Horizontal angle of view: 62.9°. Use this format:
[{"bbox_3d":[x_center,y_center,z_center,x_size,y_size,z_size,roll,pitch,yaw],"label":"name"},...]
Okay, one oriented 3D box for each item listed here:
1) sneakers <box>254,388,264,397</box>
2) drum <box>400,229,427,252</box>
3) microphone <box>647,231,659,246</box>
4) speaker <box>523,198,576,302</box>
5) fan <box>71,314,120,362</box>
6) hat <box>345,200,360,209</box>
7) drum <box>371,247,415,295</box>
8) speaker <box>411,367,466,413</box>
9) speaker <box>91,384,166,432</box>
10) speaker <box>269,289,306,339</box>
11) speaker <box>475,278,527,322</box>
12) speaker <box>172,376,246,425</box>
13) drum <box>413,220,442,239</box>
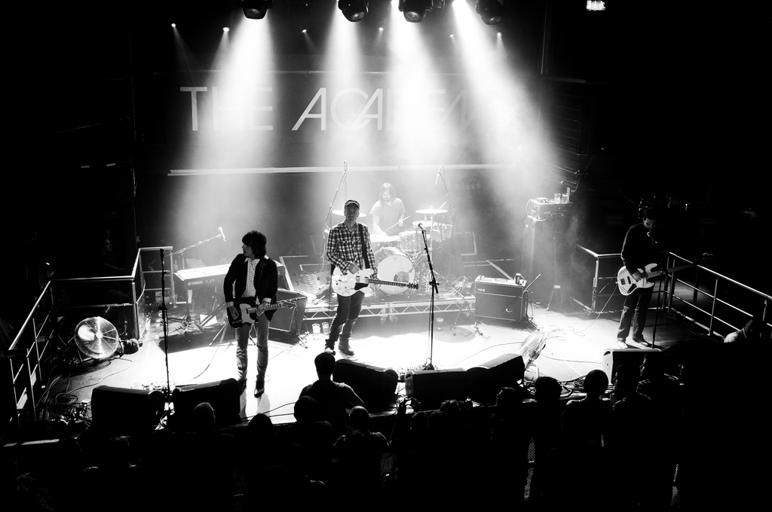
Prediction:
[{"bbox_3d":[-1.988,2.150,9.900,0.096,0.078,0.126,-2,-9,24],"label":"sneakers"},{"bbox_3d":[0.573,-0.332,13.181,0.444,0.315,0.439,-2,1,0],"label":"drum"},{"bbox_3d":[5.245,-0.356,12.397,0.362,0.086,0.250,44,-11,-23],"label":"microphone"},{"bbox_3d":[3.515,-0.162,13.668,1.149,2.346,0.617,1,3,26],"label":"speaker"},{"bbox_3d":[-4.838,1.332,10.709,0.762,0.761,0.282,-23,17,8],"label":"fan"},{"bbox_3d":[-0.569,-0.889,10.662,0.223,0.123,0.314,-1,3,-8],"label":"hat"},{"bbox_3d":[0.069,0.385,12.259,1.144,1.189,1.140,0,-2,-1],"label":"drum"},{"bbox_3d":[0.739,1.863,8.975,0.900,0.618,0.499,-1,2,-2],"label":"speaker"},{"bbox_3d":[-3.533,2.083,8.529,0.964,0.565,0.709,7,-34,-2],"label":"speaker"},{"bbox_3d":[-1.855,1.075,12.020,0.334,0.822,0.874,13,-6,-35],"label":"speaker"},{"bbox_3d":[2.315,0.748,12.739,1.263,0.934,0.766,1,4,7],"label":"speaker"},{"bbox_3d":[-2.594,2.125,8.855,0.579,0.689,1.016,-11,-7,44],"label":"speaker"},{"bbox_3d":[0.894,-0.579,13.363,0.391,0.187,0.518,15,9,38],"label":"drum"}]
